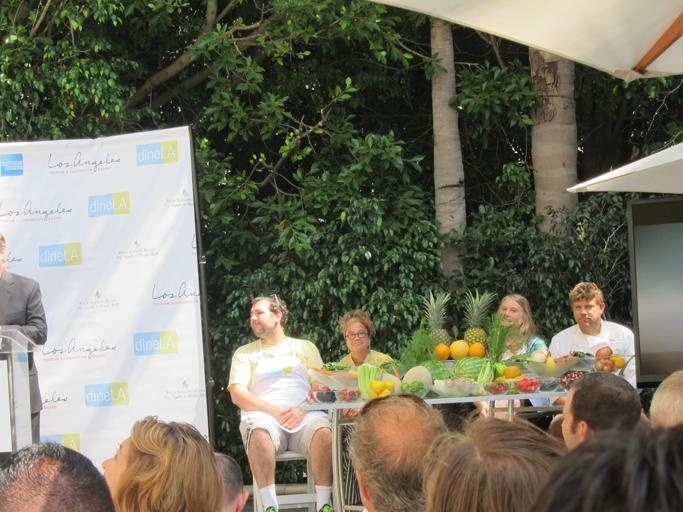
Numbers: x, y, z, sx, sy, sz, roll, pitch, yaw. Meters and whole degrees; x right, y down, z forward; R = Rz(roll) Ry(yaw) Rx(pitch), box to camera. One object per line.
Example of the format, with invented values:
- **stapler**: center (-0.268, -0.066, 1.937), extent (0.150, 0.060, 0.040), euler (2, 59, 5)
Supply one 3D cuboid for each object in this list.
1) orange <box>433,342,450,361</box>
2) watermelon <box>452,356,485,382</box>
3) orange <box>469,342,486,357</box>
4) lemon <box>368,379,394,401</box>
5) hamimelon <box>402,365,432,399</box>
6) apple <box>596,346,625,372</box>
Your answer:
- **orange**: center (0.754, 0.733, 7.462), extent (0.113, 0.120, 0.115), euler (17, -12, -16)
- **watermelon**: center (0.936, 0.842, 7.290), extent (0.214, 0.137, 0.140), euler (0, 11, -11)
- **orange**: center (1.021, 0.720, 7.427), extent (0.097, 0.105, 0.100), euler (5, -17, -8)
- **lemon**: center (0.272, 0.953, 7.003), extent (0.176, 0.109, 0.188), euler (-3, -1, 12)
- **hamimelon**: center (0.547, 0.903, 7.051), extent (0.245, 0.223, 0.213), euler (-14, -3, -8)
- **apple**: center (1.999, 0.792, 7.402), extent (0.170, 0.120, 0.263), euler (-7, -1, -5)
